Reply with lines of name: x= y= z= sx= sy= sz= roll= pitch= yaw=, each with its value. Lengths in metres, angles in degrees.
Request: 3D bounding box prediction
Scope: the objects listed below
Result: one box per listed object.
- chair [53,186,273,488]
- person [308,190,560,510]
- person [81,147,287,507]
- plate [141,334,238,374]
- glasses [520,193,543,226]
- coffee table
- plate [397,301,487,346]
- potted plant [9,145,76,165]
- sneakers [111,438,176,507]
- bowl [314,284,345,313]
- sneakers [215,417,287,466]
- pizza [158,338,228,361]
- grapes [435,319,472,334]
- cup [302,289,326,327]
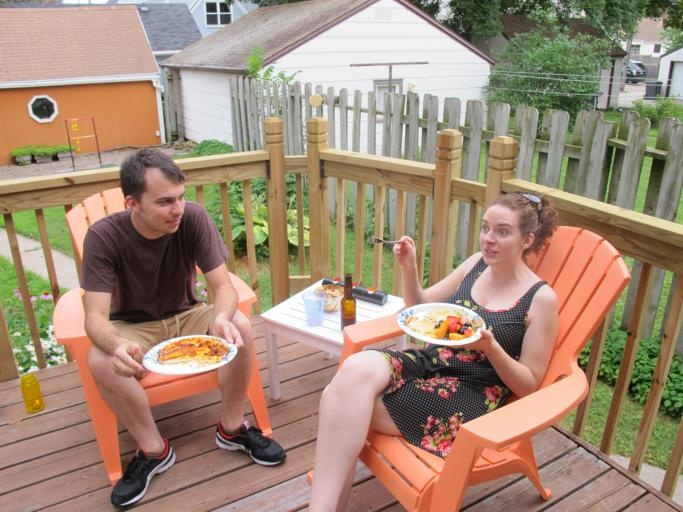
chair: x=-1.087 y=0.331 z=2.882 sx=1.003 sy=1.154 sz=1.337 roll=-15 pitch=30 yaw=-30
person: x=0.419 y=0.258 z=2.424 sx=1.629 sy=1.059 sz=0.906 roll=-19 pitch=28 yaw=-28
person: x=-0.884 y=0.318 z=2.484 sx=0.809 sy=1.663 sz=0.729 roll=-11 pitch=20 yaw=-24
plate: x=-0.696 y=0.488 z=2.264 sx=0.411 sy=0.124 sz=0.329 roll=-7 pitch=18 yaw=-13
glasses: x=0.896 y=-0.219 z=2.283 sx=0.041 sy=0.141 sz=0.129 roll=-5 pitch=17 yaw=-30
coffee table: x=-0.038 y=0.385 z=3.013 sx=0.738 sy=0.576 sz=0.731 roll=-20 pitch=27 yaw=-40
plate: x=0.440 y=0.301 z=2.168 sx=0.236 sy=0.078 sz=0.249 roll=15 pitch=26 yaw=30
potted plant: x=-8.173 y=-2.744 z=13.254 sx=1.409 sy=0.437 sz=0.597 roll=-13 pitch=20 yaw=-30
sneakers: x=-1.012 y=1.107 z=2.531 sx=0.141 sy=0.172 sz=0.365 roll=8 pitch=36 yaw=26
bowl: x=-0.072 y=0.255 z=2.991 sx=0.151 sy=0.108 sz=0.141 roll=-1 pitch=14 yaw=0
sneakers: x=-0.523 y=0.997 z=2.704 sx=0.433 sy=0.180 sz=0.163 roll=15 pitch=23 yaw=16
pizza: x=-0.696 y=0.438 z=2.312 sx=0.181 sy=0.026 sz=0.149 roll=-1 pitch=16 yaw=-18
grapes: x=0.492 y=0.302 z=2.135 sx=0.143 sy=0.048 sz=0.138 roll=1 pitch=18 yaw=10
cup: x=-0.158 y=0.309 z=2.953 sx=0.175 sy=0.202 sz=0.181 roll=-1 pitch=13 yaw=0
